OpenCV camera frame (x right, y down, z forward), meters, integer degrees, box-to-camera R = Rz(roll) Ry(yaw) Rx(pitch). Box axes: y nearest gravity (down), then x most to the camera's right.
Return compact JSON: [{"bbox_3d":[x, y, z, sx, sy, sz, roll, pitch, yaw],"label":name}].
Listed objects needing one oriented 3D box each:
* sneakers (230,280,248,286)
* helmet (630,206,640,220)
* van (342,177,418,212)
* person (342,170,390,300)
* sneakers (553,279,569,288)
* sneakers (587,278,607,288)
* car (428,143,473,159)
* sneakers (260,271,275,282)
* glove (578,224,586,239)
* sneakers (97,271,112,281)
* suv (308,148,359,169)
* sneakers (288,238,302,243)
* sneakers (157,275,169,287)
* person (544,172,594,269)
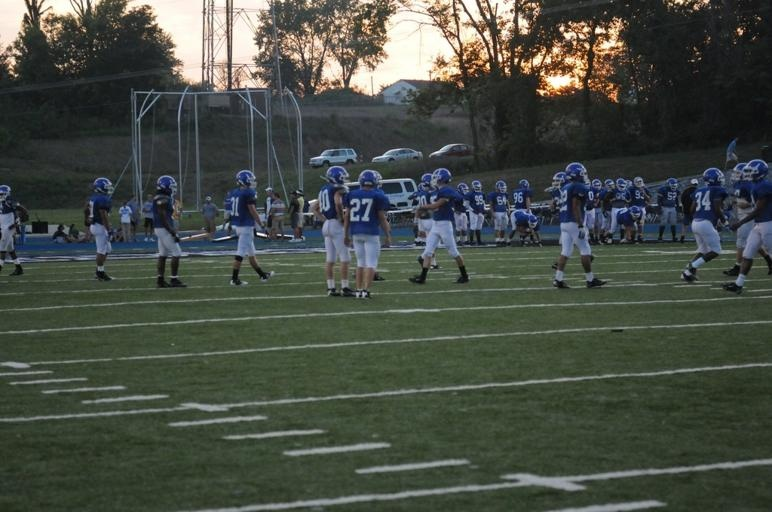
[{"bbox_3d":[-2.704,0.482,15.936,0.337,0.126,0.108,-1,39,-2],"label":"sneakers"},{"bbox_3d":[7.061,-1.250,24.628,0.314,0.332,0.285,-10,-26,-5],"label":"helmet"},{"bbox_3d":[0.073,-2.634,35.888,3.373,1.475,1.764,-1,4,-21],"label":"van"},{"bbox_3d":[-0.316,-0.327,14.393,0.707,2.097,1.269,-1,14,-1],"label":"person"},{"bbox_3d":[3.019,0.486,14.906,0.283,0.161,0.229,1,14,7],"label":"sneakers"},{"bbox_3d":[3.589,0.472,14.929,0.370,0.148,0.119,-2,46,2],"label":"sneakers"},{"bbox_3d":[4.993,-7.476,59.647,3.518,1.084,1.522,-2,1,-32],"label":"car"},{"bbox_3d":[-2.258,0.363,16.406,0.128,0.152,0.322,13,26,17],"label":"sneakers"},{"bbox_3d":[3.390,-0.415,14.921,0.099,0.239,0.223,10,17,35],"label":"glove"},{"bbox_3d":[-5.461,0.380,16.853,0.258,0.227,0.293,-5,14,-17],"label":"sneakers"},{"bbox_3d":[-3.345,-7.032,60.802,3.849,1.350,1.716,-1,3,-24],"label":"suv"},{"bbox_3d":[-2.991,-0.521,28.586,0.453,0.166,0.155,2,7,3],"label":"sneakers"},{"bbox_3d":[-4.022,0.465,15.832,0.282,0.235,0.194,-2,-7,-25],"label":"sneakers"},{"bbox_3d":[4.007,-0.738,19.479,1.196,2.496,0.992,-4,2,36],"label":"person"}]
